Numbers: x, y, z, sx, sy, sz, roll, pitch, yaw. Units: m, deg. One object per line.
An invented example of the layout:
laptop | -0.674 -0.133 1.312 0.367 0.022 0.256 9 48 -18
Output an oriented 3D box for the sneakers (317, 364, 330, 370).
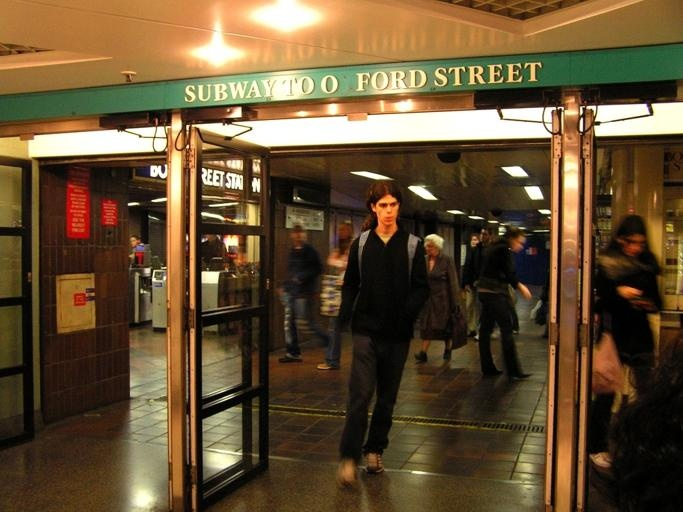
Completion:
sneakers | -0.250 1.586 8.813 0.160 0.071 0.079 9 -4 0

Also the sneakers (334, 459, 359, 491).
sneakers | 0.043 1.654 4.676 0.183 0.213 0.236 -1 6 5

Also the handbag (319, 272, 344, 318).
handbag | -0.141 0.549 8.489 0.568 0.637 0.568 2 -2 -2

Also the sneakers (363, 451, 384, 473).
sneakers | 0.263 1.674 4.961 0.086 0.093 0.218 0 0 9

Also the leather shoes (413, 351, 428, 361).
leather shoes | 1.251 1.560 9.491 0.218 0.151 0.120 15 -13 -38

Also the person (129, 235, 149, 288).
person | -4.969 0.112 15.011 0.429 1.216 2.153 -1 1 -19

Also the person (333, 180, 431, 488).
person | 0.328 0.586 4.754 0.676 2.327 0.448 0 1 4
